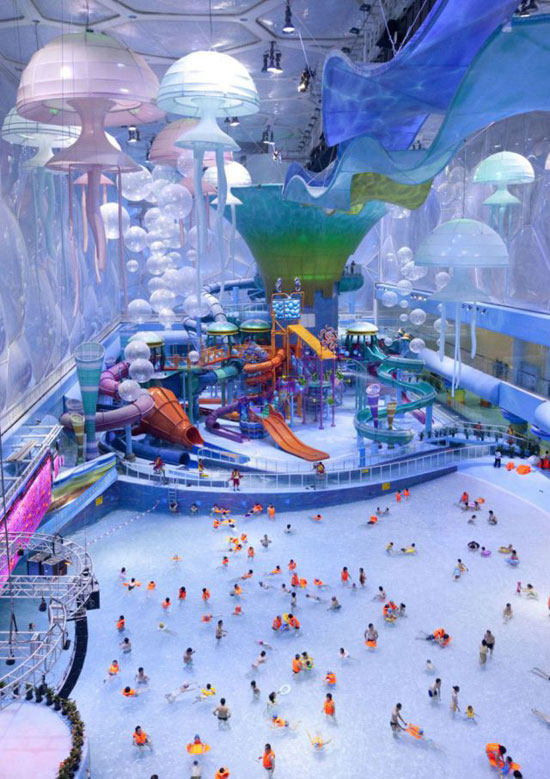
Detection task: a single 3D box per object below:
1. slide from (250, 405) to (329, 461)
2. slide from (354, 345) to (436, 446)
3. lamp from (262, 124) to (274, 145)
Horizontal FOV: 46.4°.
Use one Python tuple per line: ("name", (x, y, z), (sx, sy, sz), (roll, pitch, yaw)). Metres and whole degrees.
("slide", (0.355, 1.423, 17.010), (0.745, 2.792, 1.050), (-21, -57, -33))
("slide", (3.357, 0.260, 18.301), (1.793, 2.406, 3.480), (-4, -83, -40))
("lamp", (-0.370, -12.476, 31.668), (0.678, 0.672, 0.750), (2, -84, 5))
